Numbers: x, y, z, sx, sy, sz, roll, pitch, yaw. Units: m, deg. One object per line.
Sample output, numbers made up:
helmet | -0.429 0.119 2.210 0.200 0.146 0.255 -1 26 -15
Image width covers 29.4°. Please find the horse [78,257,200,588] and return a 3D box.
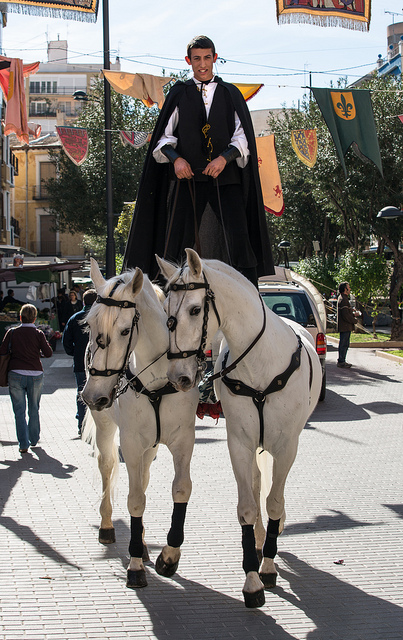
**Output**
horse | -0.412 0.704 5.197 0.674 1.891 2.607 -2 -5 -6

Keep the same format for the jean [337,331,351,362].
jean | 3.408 0.641 18.463 0.237 0.788 0.783 1 5 10

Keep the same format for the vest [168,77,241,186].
vest | 0.025 -1.230 5.039 0.478 0.734 0.374 0 5 -3

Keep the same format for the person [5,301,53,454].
person | -2.210 0.731 9.840 0.558 1.795 1.227 -2 5 -15

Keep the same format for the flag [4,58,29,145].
flag | -3.716 -4.377 15.516 0.466 1.392 2.111 -1 5 -13

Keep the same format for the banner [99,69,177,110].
banner | -1.174 -4.396 14.896 1.890 0.658 0.494 -8 -1 -40

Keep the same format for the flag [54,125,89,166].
flag | -2.991 -4.071 18.157 0.964 0.924 0.141 -8 -2 -44

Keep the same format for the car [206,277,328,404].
car | 1.402 0.130 13.459 1.483 1.409 2.651 0 6 6

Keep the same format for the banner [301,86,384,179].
banner | 2.889 -3.683 14.969 1.356 1.631 0.427 -2 6 -24

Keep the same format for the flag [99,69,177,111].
flag | -1.121 -4.437 14.912 1.258 0.669 1.294 10 14 22

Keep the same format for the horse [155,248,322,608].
horse | 0.194 0.631 4.400 0.519 2.053 1.284 3 6 29
